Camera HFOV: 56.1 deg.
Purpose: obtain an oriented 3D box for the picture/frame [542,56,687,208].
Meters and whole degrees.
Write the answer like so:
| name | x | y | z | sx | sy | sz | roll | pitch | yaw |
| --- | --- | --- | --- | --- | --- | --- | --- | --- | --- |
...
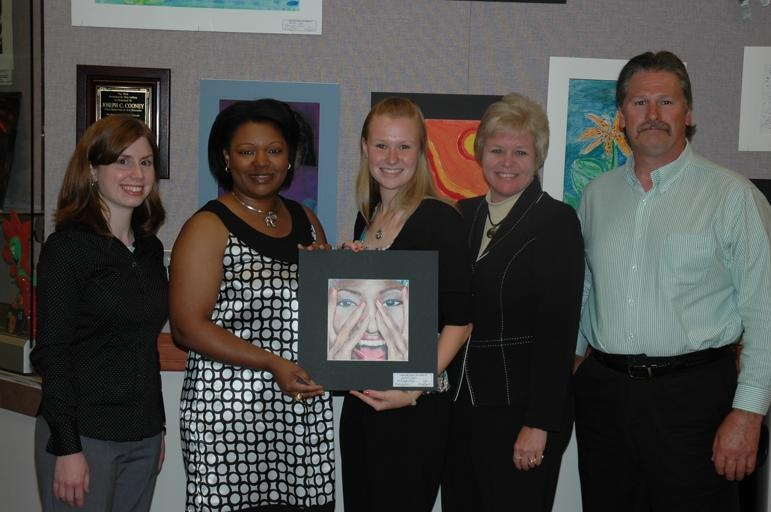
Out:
| name | x | y | z | sx | sy | sz | roll | pitch | yaw |
| --- | --- | --- | --- | --- | --- | --- | --- | --- | --- |
| picture/frame | 1.158 | -0.655 | 3.616 | 0.869 | 0.998 | 0.039 | 0 | 5 | 2 |

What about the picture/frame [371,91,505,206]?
| name | x | y | z | sx | sy | sz | roll | pitch | yaw |
| --- | --- | --- | --- | --- | --- | --- | --- | --- | --- |
| picture/frame | 0.246 | -0.539 | 3.477 | 0.681 | 0.671 | 0.024 | 0 | 4 | 4 |

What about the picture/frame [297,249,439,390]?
| name | x | y | z | sx | sy | sz | roll | pitch | yaw |
| --- | --- | --- | --- | --- | --- | --- | --- | --- | --- |
| picture/frame | -0.056 | 0.252 | 3.034 | 0.594 | 0.588 | 0.038 | 0 | 0 | 2 |

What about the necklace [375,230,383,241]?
| name | x | y | z | sx | sy | sz | roll | pitch | yaw |
| --- | --- | --- | --- | --- | --- | --- | --- | --- | --- |
| necklace | -0.030 | -0.095 | 3.173 | 0.033 | 0.041 | 0.012 | -5 | -18 | 25 |

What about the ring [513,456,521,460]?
| name | x | y | z | sx | sy | sz | roll | pitch | yaw |
| --- | --- | --- | --- | --- | --- | --- | --- | --- | --- |
| ring | 0.605 | 0.919 | 3.309 | 0.027 | 0.011 | 0.021 | 2 | -5 | -3 |

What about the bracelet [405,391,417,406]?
| name | x | y | z | sx | sy | sz | roll | pitch | yaw |
| --- | --- | --- | --- | --- | --- | --- | --- | --- | --- |
| bracelet | 0.110 | 0.604 | 3.082 | 0.022 | 0.056 | 0.042 | -3 | -5 | 8 |

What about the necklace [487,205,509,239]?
| name | x | y | z | sx | sy | sz | roll | pitch | yaw |
| --- | --- | --- | --- | --- | --- | --- | --- | --- | --- |
| necklace | 0.531 | -0.168 | 3.424 | 0.080 | 0.139 | 0.046 | 14 | -9 | 22 |
